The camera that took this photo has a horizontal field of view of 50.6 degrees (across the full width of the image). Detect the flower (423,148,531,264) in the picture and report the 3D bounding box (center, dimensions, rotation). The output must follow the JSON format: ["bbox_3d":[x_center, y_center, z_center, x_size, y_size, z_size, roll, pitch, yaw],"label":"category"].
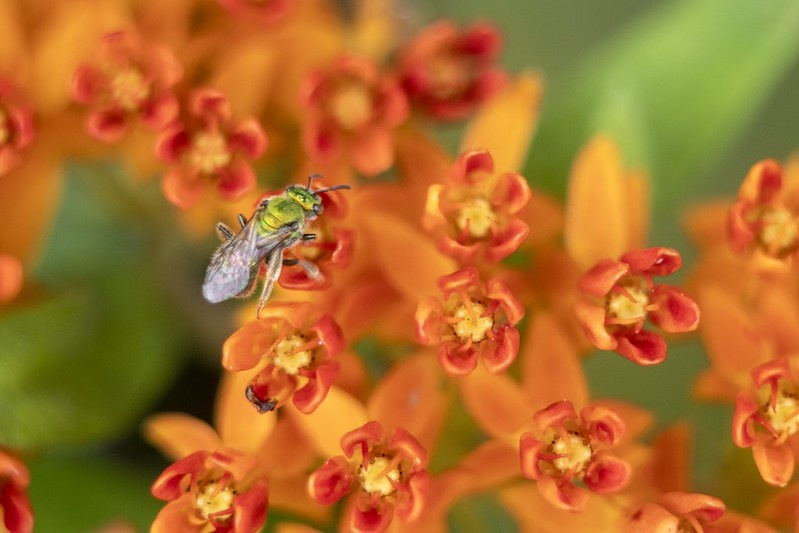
[{"bbox_3d":[0.113,-0.086,1.221,0.150,0.147,0.113,3,44,6],"label":"flower"}]

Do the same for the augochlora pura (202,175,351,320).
[{"bbox_3d":[-0.188,-0.015,1.362,0.234,0.080,0.173,-44,51,-9],"label":"augochlora pura"}]

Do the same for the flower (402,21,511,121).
[{"bbox_3d":[0.079,-0.296,1.279,0.154,0.092,0.126,-1,43,1],"label":"flower"}]

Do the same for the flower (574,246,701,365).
[{"bbox_3d":[0.326,0.046,1.194,0.158,0.110,0.187,-20,18,10],"label":"flower"}]

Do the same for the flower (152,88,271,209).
[{"bbox_3d":[-0.300,-0.184,1.314,0.209,0.203,0.081,37,73,6],"label":"flower"}]
